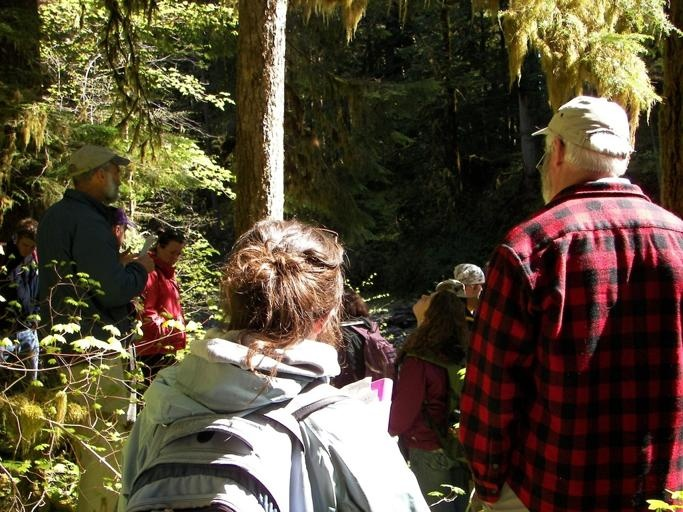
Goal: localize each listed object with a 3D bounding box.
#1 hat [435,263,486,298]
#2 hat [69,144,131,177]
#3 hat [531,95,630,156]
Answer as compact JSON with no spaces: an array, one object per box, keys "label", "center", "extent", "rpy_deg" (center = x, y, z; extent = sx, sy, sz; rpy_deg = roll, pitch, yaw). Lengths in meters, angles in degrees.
[{"label":"hat","center":[1.047,0.211,6.293],"extent":[0.390,0.261,0.325],"rpy_deg":[-6,6,-7]},{"label":"hat","center":[-1.759,-0.718,5.121],"extent":[0.370,0.206,0.245],"rpy_deg":[-5,11,-26]},{"label":"hat","center":[1.295,-0.673,3.823],"extent":[0.390,0.222,0.280],"rpy_deg":[24,19,39]}]
